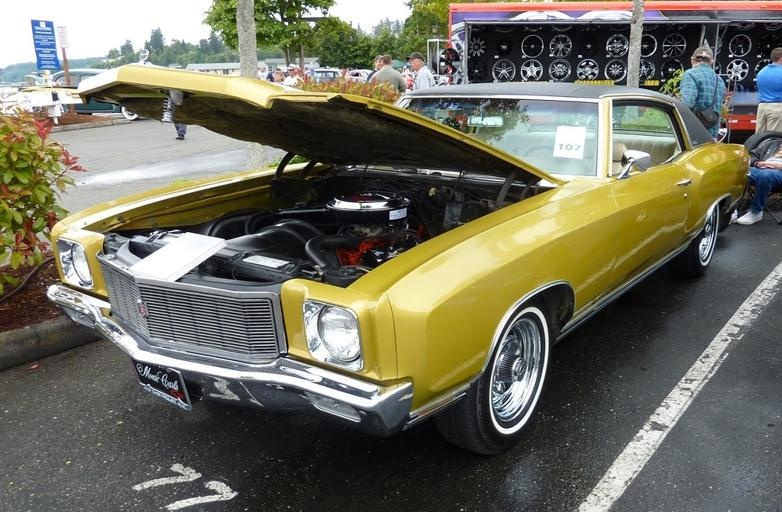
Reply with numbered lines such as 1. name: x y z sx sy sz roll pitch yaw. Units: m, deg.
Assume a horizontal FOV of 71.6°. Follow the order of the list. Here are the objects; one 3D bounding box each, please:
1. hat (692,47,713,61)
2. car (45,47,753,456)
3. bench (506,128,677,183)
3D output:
1. hat: 5.039 -3.233 8.707 0.331 0.160 0.396 4 17 23
2. car: 0.864 -0.799 5.001 6.263 1.646 3.270 -25 30 -36
3. bench: 1.403 -0.808 4.370 0.899 0.489 0.196 13 57 -12
